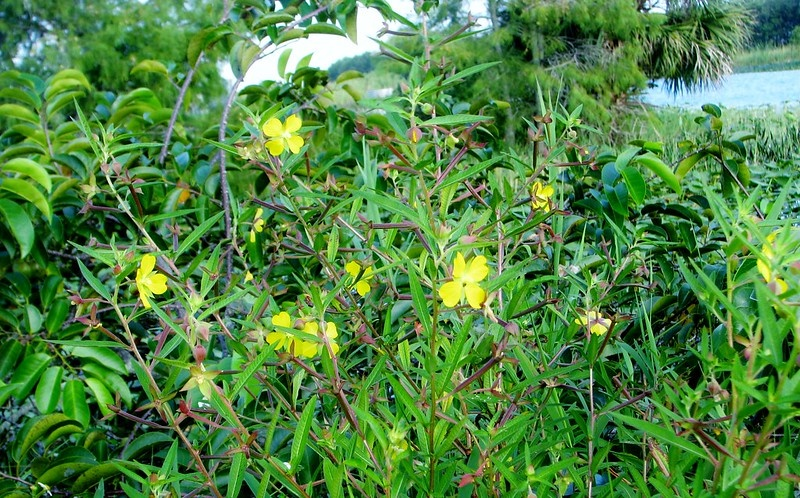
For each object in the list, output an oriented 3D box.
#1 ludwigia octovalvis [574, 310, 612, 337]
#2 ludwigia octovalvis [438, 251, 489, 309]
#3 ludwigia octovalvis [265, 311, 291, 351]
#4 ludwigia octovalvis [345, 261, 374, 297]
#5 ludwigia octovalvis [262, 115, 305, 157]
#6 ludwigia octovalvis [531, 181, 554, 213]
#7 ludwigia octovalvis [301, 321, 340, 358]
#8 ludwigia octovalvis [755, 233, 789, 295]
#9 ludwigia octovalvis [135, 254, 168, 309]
[{"bbox_3d":[0.543,0.205,2.168,0.077,0.019,0.075,16,36,12],"label":"ludwigia octovalvis"},{"bbox_3d":[0.166,0.082,1.938,0.129,0.135,0.042,-27,0,-8],"label":"ludwigia octovalvis"},{"bbox_3d":[-0.329,0.228,2.092,0.079,0.093,0.022,-6,-25,24],"label":"ludwigia octovalvis"},{"bbox_3d":[-0.098,0.090,2.213,0.099,0.099,0.044,28,-31,-31],"label":"ludwigia octovalvis"},{"bbox_3d":[-0.332,-0.330,2.236,0.114,0.124,0.098,4,18,15],"label":"ludwigia octovalvis"},{"bbox_3d":[0.402,-0.148,2.257,0.045,0.082,0.080,-24,4,43],"label":"ludwigia octovalvis"},{"bbox_3d":[-0.214,0.250,2.068,0.099,0.124,0.116,-3,17,-8],"label":"ludwigia octovalvis"},{"bbox_3d":[0.919,0.041,1.895,0.068,0.072,0.140,-10,35,39],"label":"ludwigia octovalvis"},{"bbox_3d":[-0.691,0.077,2.134,0.083,0.146,0.194,-7,18,-20],"label":"ludwigia octovalvis"}]
